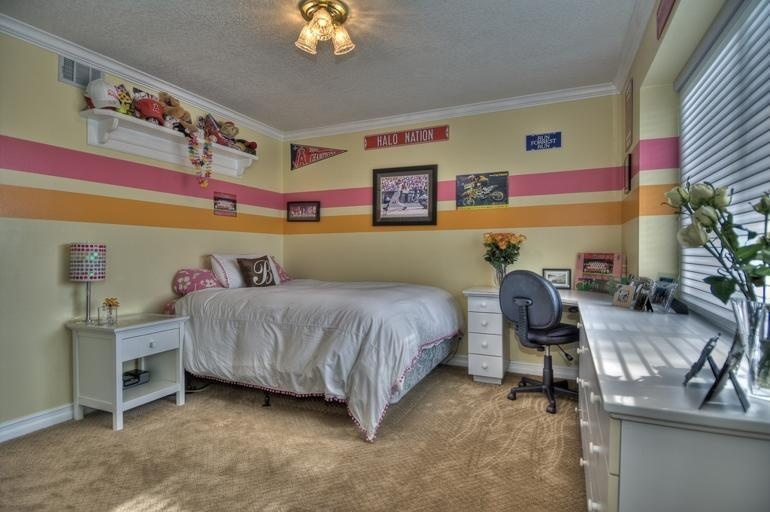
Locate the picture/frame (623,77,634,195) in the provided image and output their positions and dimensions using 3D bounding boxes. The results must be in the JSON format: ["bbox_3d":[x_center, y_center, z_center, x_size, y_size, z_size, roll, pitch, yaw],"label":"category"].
[{"bbox_3d":[2.284,-1.131,4.458,0.082,1.025,0.446,-1,3,27],"label":"picture/frame"}]

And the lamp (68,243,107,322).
[{"bbox_3d":[-2.649,0.231,4.289,0.313,0.705,0.305,-4,3,-32],"label":"lamp"}]

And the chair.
[{"bbox_3d":[1.521,0.765,4.516,0.797,1.212,0.774,1,1,-17],"label":"chair"}]

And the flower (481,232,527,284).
[{"bbox_3d":[1.292,0.041,5.292,0.567,0.646,0.506,0,0,-40],"label":"flower"}]

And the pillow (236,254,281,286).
[{"bbox_3d":[-1.400,0.175,5.311,0.112,0.336,0.371,-35,-14,36],"label":"pillow"}]

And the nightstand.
[{"bbox_3d":[-2.345,1.013,4.480,0.768,0.869,0.952,3,1,18],"label":"nightstand"}]

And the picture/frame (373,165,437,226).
[{"bbox_3d":[0.281,-0.736,5.732,0.764,0.639,0.064,-1,-2,22],"label":"picture/frame"}]

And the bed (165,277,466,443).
[{"bbox_3d":[-0.719,0.903,4.435,2.253,1.182,0.941,-2,2,17],"label":"bed"}]
